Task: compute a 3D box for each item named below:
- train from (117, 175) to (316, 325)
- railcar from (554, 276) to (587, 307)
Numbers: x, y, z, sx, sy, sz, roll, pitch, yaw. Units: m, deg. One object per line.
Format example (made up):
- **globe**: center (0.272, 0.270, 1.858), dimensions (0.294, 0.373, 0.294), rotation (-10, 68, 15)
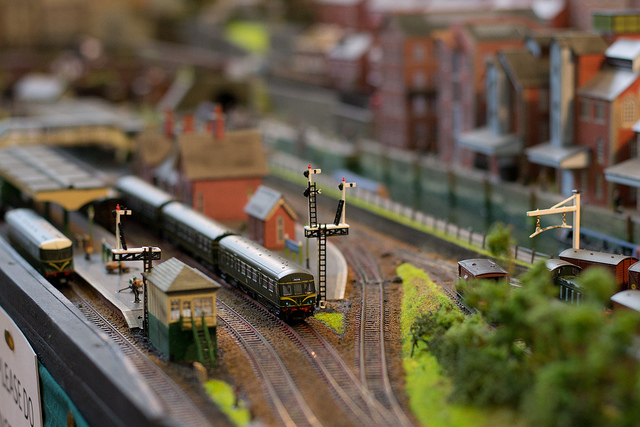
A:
- **train**: center (-10.111, 2.012, 73.248), dimensions (3.485, 4.484, 31.430), rotation (-13, 23, -33)
- **railcar**: center (18.179, 5.681, 59.896), dimensions (2.062, 1.502, 2.868), rotation (-7, 18, -26)
